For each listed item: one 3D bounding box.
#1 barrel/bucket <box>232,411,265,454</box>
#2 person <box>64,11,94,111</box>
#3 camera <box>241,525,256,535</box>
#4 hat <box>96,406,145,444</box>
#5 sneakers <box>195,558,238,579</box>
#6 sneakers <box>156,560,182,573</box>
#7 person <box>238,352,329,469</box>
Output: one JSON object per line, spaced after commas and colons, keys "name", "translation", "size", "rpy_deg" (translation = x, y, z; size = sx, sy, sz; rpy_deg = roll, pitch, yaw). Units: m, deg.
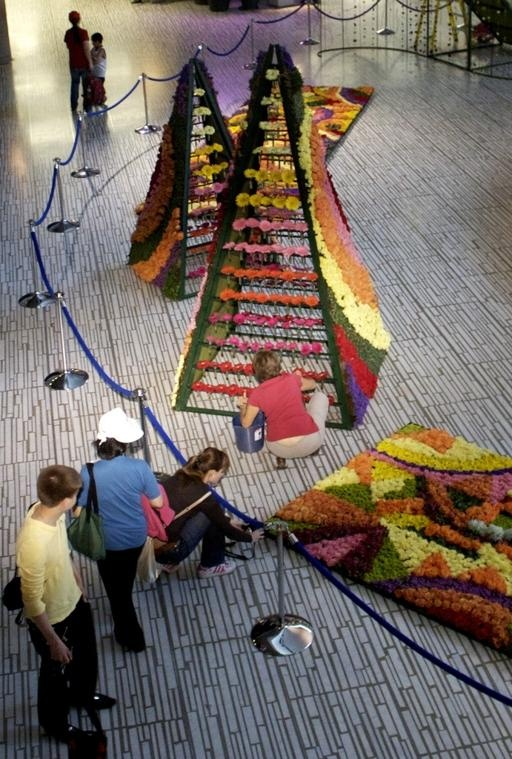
{"name": "barrel/bucket", "translation": [-0.055, 0.332, 3.815], "size": [0.237, 0.286, 0.283], "rpy_deg": [-5, 34, -6]}
{"name": "person", "translation": [-3.423, -6.124, 10.347], "size": [0.495, 1.860, 1.532], "rpy_deg": [-7, 26, -15]}
{"name": "camera", "translation": [-0.047, 0.834, 2.974], "size": [0.112, 0.034, 0.028], "rpy_deg": [4, 40, -4]}
{"name": "hat", "translation": [-0.563, 0.197, 2.198], "size": [0.153, 0.099, 0.189], "rpy_deg": [-14, -7, -14]}
{"name": "sneakers", "translation": [-0.223, 1.061, 3.020], "size": [0.225, 0.101, 0.090], "rpy_deg": [-11, 62, -12]}
{"name": "sneakers", "translation": [-0.485, 1.051, 2.984], "size": [0.166, 0.057, 0.069], "rpy_deg": [1, 8, -8]}
{"name": "person", "translation": [0.251, 0.205, 3.686], "size": [0.677, 0.839, 0.347], "rpy_deg": [-16, 29, -30]}
